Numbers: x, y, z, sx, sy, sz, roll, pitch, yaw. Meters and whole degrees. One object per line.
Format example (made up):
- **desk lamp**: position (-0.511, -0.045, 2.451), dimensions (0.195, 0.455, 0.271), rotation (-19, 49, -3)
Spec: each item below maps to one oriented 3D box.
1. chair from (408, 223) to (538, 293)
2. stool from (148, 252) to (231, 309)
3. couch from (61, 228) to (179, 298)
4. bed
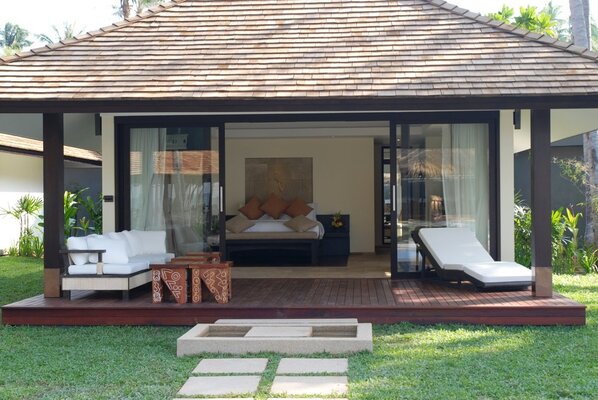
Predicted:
- **chair**: position (2.941, 1.036, 10.045), dimensions (1.753, 0.969, 1.995), rotation (0, -1, -2)
- **stool**: position (-1.789, 1.349, 9.325), dimensions (1.333, 0.695, 0.696), rotation (-2, 0, -8)
- **couch**: position (-3.179, 1.016, 10.092), dimensions (1.966, 1.144, 1.913), rotation (2, 9, 7)
- **bed**: position (-0.619, 1.000, 14.006), dimensions (2.462, 1.242, 2.084), rotation (-2, 0, 0)
